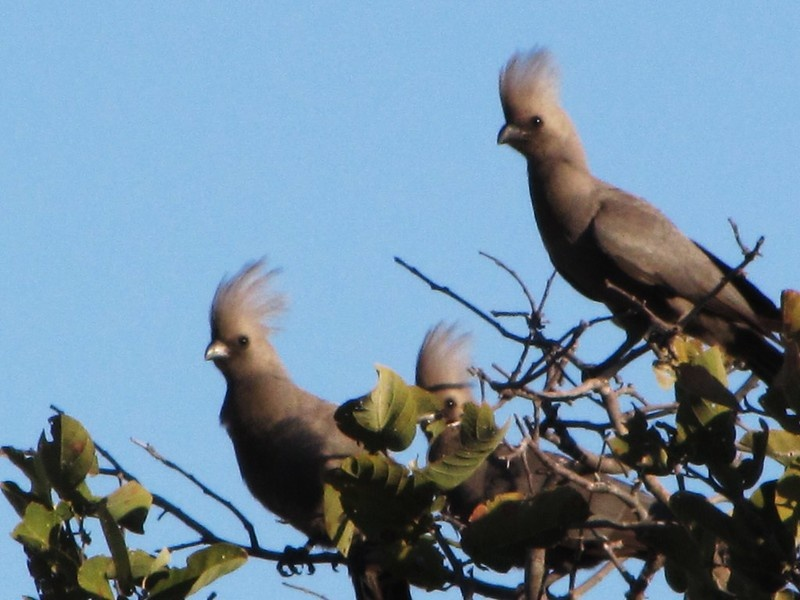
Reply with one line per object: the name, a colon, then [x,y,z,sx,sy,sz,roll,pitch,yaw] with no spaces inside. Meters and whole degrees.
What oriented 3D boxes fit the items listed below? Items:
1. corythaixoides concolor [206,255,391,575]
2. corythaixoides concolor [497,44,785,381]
corythaixoides concolor: [-0.731,0.622,10.424,0.739,1.745,0.659,12,-51,-19]
corythaixoides concolor: [1.481,-0.401,10.546,1.953,0.768,1.940,3,-95,-13]
